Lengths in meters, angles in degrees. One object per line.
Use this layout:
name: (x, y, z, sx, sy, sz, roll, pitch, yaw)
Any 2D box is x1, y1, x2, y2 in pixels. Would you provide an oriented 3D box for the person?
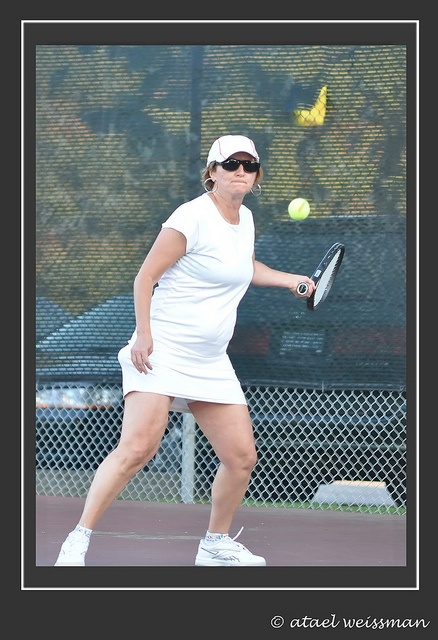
person: (-0.076, 0.268, 3.010, 0.592, 1.940, 1.160, 10, 20, 26)

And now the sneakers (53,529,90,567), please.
sneakers: (-0.544, 0.842, 2.786, 0.112, 0.208, 0.088, -7, 20, -20)

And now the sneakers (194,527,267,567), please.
sneakers: (0.085, 0.979, 3.199, 0.363, 0.174, 0.114, 2, -22, 2)

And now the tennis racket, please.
tennis racket: (0.449, -0.197, 3.255, 0.068, 0.226, 0.304, 29, 64, 19)
